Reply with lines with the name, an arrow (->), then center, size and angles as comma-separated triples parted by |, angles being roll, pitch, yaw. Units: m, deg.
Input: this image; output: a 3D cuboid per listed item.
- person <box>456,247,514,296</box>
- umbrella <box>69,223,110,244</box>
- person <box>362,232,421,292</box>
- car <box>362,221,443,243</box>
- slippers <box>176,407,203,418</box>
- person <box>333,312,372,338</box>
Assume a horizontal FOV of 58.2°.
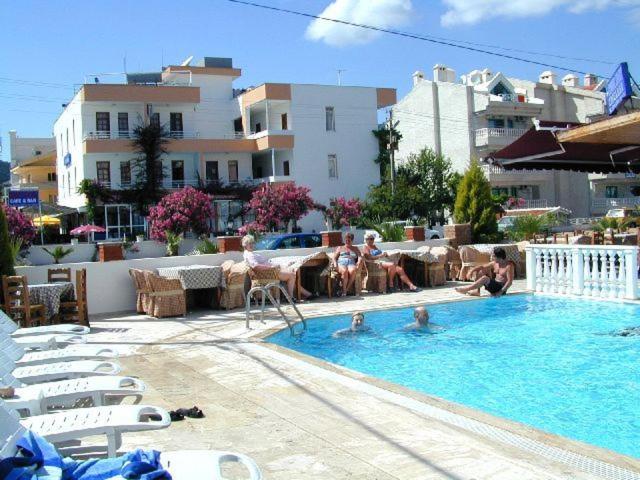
person -> 4.025, 0.812, 14.166 | 1.588, 1.162, 0.794 | -3, 9, -13
umbrella -> -14.316, -0.655, 35.523 | 1.878, 1.204, 1.847 | -2, 0, -6
person -> 1.882, 0.561, 15.265 | 1.692, 1.248, 0.700 | 11, 16, 35
car -> 4.547, -0.319, 30.090 | 3.534, 1.722, 2.034 | -3, 3, -13
slippers -> -1.389, 1.854, 6.190 | 0.172, 0.069, 0.128 | 1, 3, 37
person -> 0.575, 1.547, 10.638 | 0.720, 0.390, 0.475 | -1, 4, -10
